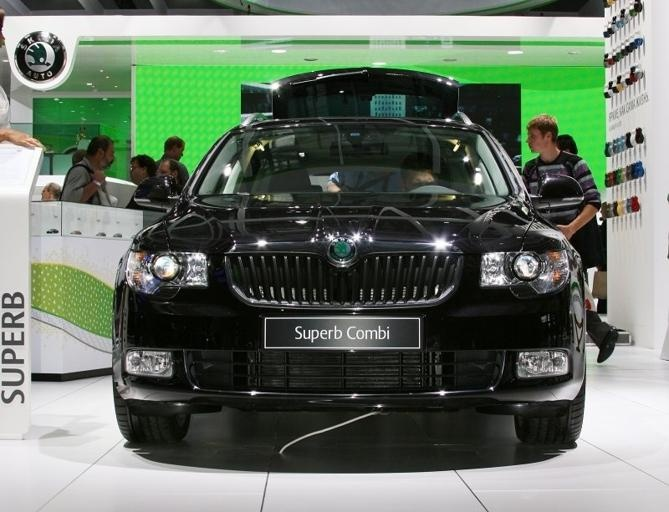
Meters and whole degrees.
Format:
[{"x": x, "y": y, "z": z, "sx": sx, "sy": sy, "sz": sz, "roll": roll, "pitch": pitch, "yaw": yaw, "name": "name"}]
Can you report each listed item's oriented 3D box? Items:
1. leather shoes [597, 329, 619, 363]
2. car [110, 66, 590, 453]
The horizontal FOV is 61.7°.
[{"x": 2.409, "y": 0.791, "z": 4.941, "sx": 0.150, "sy": 0.312, "sz": 0.254, "roll": -2, "pitch": -5, "yaw": 23, "name": "leather shoes"}, {"x": 0.171, "y": -0.108, "z": 3.368, "sx": 1.602, "sy": 1.191, "sz": 2.525, "roll": 0, "pitch": -3, "yaw": 3, "name": "car"}]
